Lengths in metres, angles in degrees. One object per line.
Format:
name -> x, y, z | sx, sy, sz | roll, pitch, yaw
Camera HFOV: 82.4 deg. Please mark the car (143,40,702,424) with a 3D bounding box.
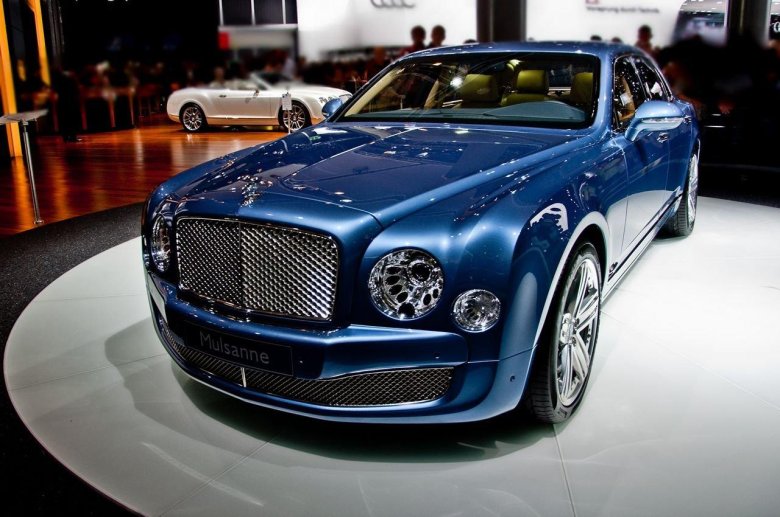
car -> 0.875, -0.251, 3.115 | 1.955, 1.272, 3.912 | 9, 16, 36
